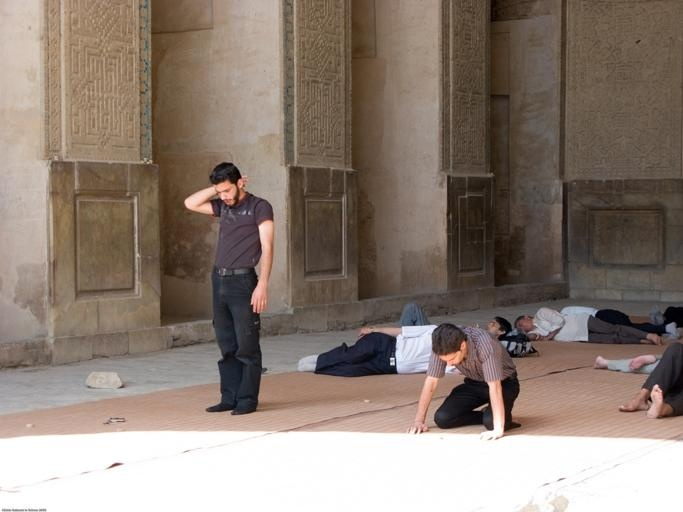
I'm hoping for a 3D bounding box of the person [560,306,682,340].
[{"bbox_3d":[3.513,0.794,9.720,0.962,0.241,0.563,3,4,25],"label":"person"}]

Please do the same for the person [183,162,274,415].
[{"bbox_3d":[-0.817,0.251,6.023,0.703,1.888,0.448,1,4,18],"label":"person"}]

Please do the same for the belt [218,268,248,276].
[{"bbox_3d":[-0.818,0.124,5.964,0.249,0.054,0.063,2,4,23],"label":"belt"}]

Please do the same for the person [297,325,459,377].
[{"bbox_3d":[0.310,0.941,7.659,1.389,0.617,0.383,-3,-11,-2],"label":"person"}]

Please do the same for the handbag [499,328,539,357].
[{"bbox_3d":[1.885,0.932,8.575,0.364,0.198,0.490,3,14,-27],"label":"handbag"}]

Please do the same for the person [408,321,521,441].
[{"bbox_3d":[0.933,0.828,5.386,0.769,0.795,0.708,-3,1,-36],"label":"person"}]

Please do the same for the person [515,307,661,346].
[{"bbox_3d":[2.868,0.879,9.494,1.798,0.422,0.664,3,-24,15],"label":"person"}]

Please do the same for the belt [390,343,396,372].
[{"bbox_3d":[0.486,0.990,7.489,0.051,0.148,0.107,3,1,-2],"label":"belt"}]
